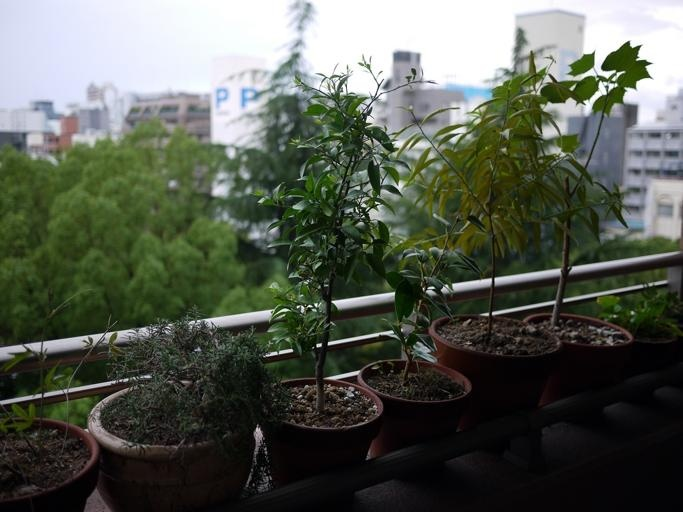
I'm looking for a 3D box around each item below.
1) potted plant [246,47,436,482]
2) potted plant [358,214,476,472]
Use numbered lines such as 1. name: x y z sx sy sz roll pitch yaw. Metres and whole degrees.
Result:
1. potted plant: -0.017 0.052 2.014 0.481 1.243 0.392 -2 13 -3
2. potted plant: 0.248 0.289 2.173 0.346 0.730 0.377 9 10 34
